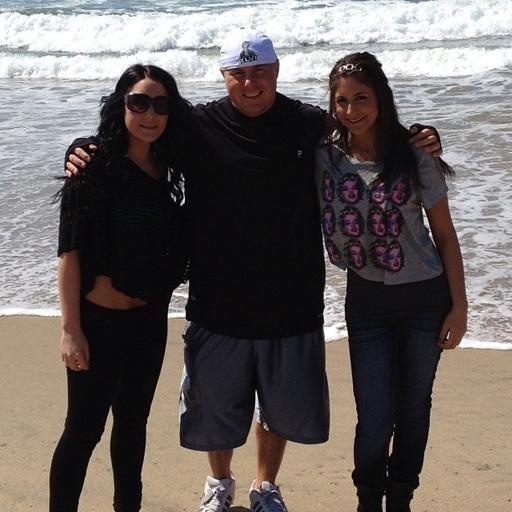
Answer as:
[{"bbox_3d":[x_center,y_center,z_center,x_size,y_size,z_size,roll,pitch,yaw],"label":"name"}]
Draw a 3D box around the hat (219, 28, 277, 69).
[{"bbox_3d":[-0.049,-0.974,3.093,0.232,0.141,0.224,-6,10,0],"label":"hat"}]
